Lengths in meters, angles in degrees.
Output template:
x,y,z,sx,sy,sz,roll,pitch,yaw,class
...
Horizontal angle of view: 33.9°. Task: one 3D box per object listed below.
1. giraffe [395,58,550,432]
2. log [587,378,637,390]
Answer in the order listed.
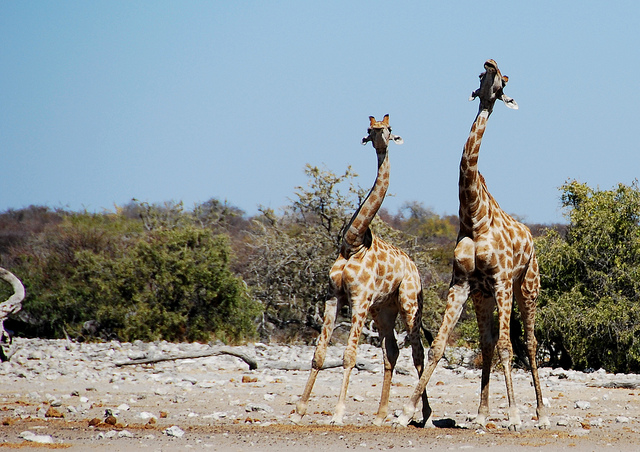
x,y,z,sx,sy,sz,roll,pitch,yaw,class
3.586,0.686,22.803,1.846,7.730,3.792,2,-5,34,giraffe
7.391,4.014,26.473,1.183,0.329,0.415,1,-21,24,log
